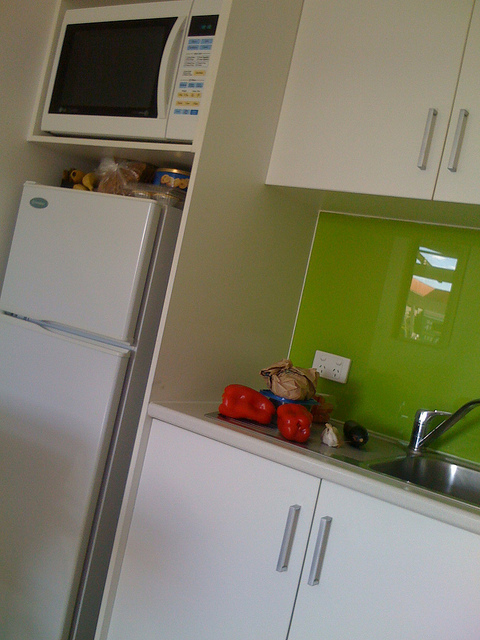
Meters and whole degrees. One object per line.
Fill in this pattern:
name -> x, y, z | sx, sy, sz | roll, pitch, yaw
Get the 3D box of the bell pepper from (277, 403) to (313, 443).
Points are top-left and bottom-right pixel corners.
bell pepper -> 0.118, 0.239, 1.008 | 0.082, 0.105, 0.108 | 1, -1, 11

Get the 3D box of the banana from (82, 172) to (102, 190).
banana -> -0.468, -0.442, 1.420 | 0.049, 0.050, 0.063 | -2, 38, -10

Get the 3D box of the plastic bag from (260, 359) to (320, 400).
plastic bag -> 0.128, 0.131, 1.144 | 0.098, 0.058, 0.109 | 8, 0, -15

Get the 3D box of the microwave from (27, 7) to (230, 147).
microwave -> -0.340, -0.694, 1.300 | 0.630, 0.423, 0.168 | 16, 1, 37

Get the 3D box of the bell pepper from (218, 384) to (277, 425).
bell pepper -> 0.018, 0.208, 1.073 | 0.129, 0.065, 0.091 | 12, 33, 13

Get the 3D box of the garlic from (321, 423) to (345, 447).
garlic -> 0.211, 0.263, 1.011 | 0.036, 0.028, 0.052 | -1, 35, -16
